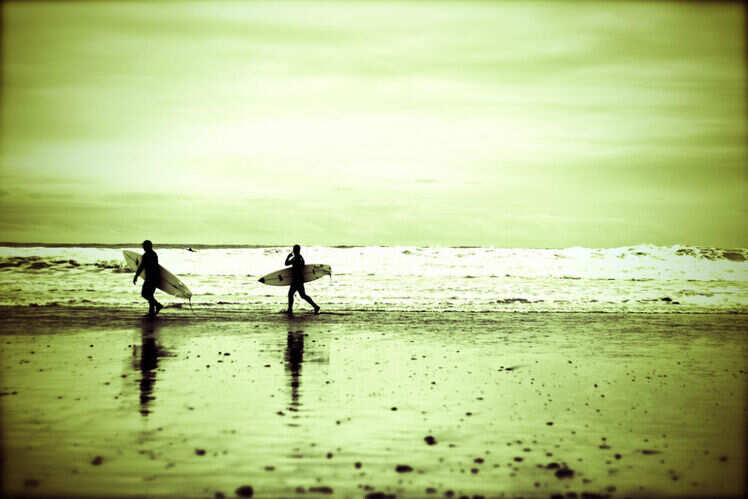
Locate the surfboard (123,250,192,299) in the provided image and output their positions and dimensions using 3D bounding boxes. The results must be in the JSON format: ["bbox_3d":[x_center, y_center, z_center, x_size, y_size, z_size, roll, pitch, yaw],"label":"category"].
[{"bbox_3d":[-7.342,0.810,37.915,0.607,0.835,4.832,8,8,-37],"label":"surfboard"}]
